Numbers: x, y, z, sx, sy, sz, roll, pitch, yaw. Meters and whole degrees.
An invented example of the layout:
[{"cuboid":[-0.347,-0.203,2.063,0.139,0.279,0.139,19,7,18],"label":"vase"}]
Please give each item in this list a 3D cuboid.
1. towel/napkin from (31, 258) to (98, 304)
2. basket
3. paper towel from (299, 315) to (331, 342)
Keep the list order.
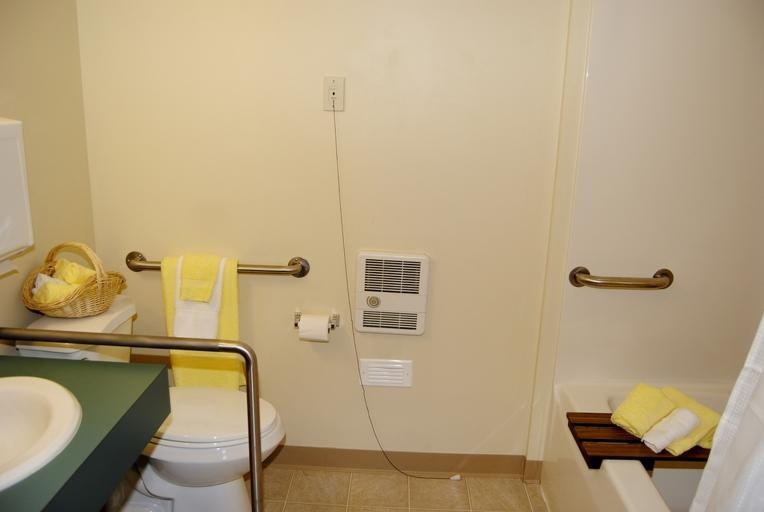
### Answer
[{"cuboid":[-1.277,0.121,2.241,0.186,0.073,0.189,20,55,6],"label":"towel/napkin"},{"cuboid":[-1.252,0.075,2.330,0.376,0.291,0.395,-2,19,-6],"label":"basket"},{"cuboid":[-0.293,0.327,2.553,0.153,0.138,0.111,4,39,5],"label":"paper towel"}]
